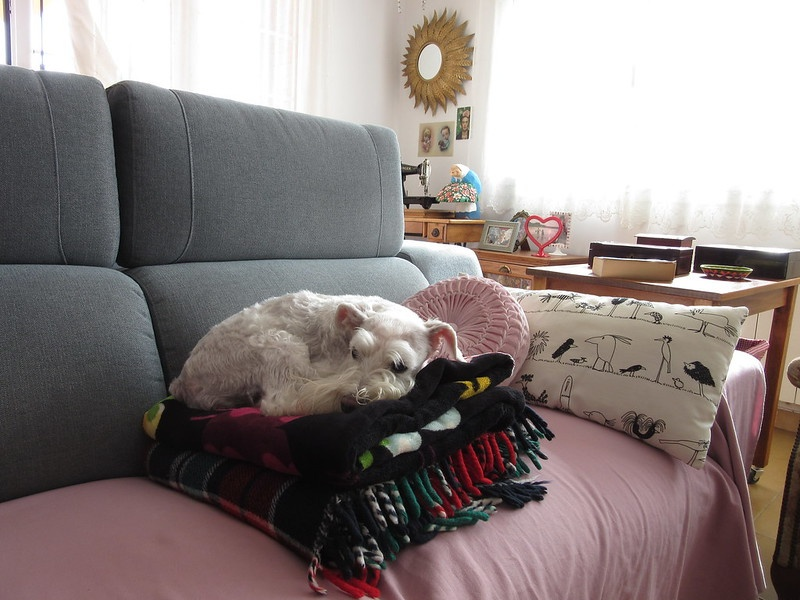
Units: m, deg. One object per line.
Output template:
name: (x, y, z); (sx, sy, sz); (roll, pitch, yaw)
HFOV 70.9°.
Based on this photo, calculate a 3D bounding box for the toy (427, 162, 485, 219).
toy: (0.388, -0.716, 3.680); (0.305, 0.355, 0.303); (-13, 22, -38)

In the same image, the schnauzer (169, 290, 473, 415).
schnauzer: (-0.200, 0.119, 1.183); (0.419, 0.159, 0.307); (-2, 3, -6)

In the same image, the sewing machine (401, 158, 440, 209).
sewing machine: (0.089, -0.783, 3.812); (0.336, 0.362, 0.100); (8, 22, 35)

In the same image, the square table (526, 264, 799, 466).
square table: (1.072, 0.119, 2.376); (0.861, 0.869, 0.872); (-14, 20, -35)

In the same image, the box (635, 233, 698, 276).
box: (1.023, -0.174, 2.181); (0.120, 0.136, 0.188); (-15, 20, -35)

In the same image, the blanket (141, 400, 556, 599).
blanket: (-0.020, 0.382, 1.145); (0.462, 0.164, 0.464); (-13, 22, -42)
